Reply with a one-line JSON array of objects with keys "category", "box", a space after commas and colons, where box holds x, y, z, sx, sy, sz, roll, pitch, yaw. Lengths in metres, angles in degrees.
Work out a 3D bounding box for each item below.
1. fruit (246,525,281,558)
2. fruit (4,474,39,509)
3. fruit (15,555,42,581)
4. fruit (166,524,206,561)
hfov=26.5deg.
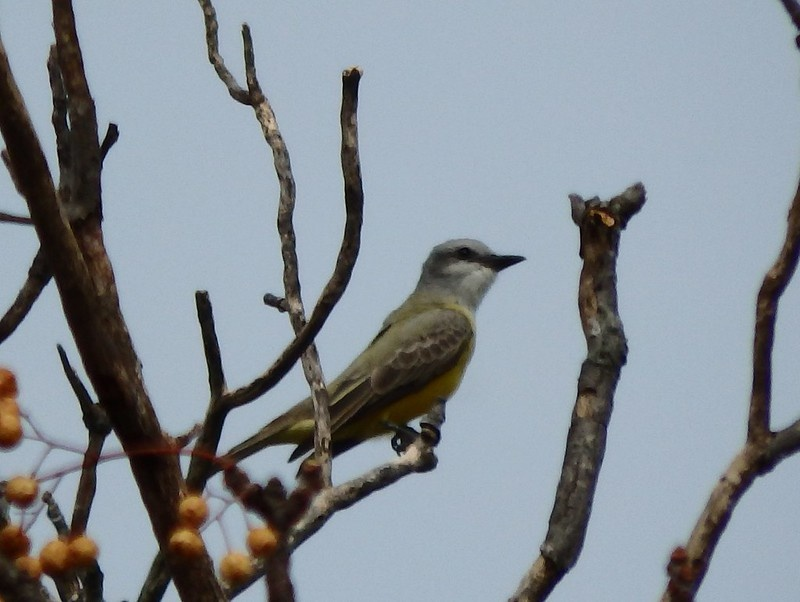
[{"category": "fruit", "box": [-0.415, 0.703, 4.995, 0.112, 0.068, 0.079, -14, -45, 24]}, {"category": "fruit", "box": [-1.140, 0.568, 5.068, 0.080, 0.111, 0.088, 4, 3, 15]}, {"category": "fruit", "box": [-1.114, 0.789, 5.052, 0.065, 0.042, 0.058, 33, -6, 16]}, {"category": "fruit", "box": [-0.639, 0.725, 5.055, 0.113, 0.081, 0.085, 16, -40, -8]}]
